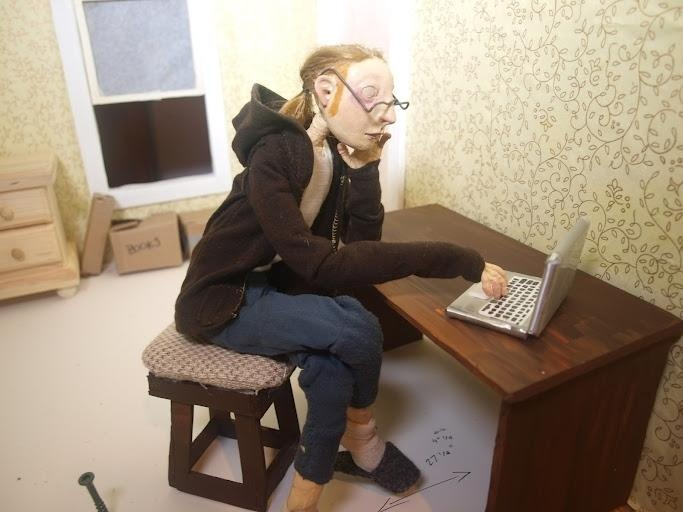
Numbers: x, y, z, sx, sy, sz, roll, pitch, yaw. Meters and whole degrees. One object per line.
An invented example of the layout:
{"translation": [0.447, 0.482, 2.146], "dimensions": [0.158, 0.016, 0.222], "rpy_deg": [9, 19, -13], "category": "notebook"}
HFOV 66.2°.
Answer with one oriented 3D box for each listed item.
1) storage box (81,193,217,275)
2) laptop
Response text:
{"translation": [-1.160, -0.068, 3.060], "dimensions": [0.531, 0.224, 0.524], "rpy_deg": [-6, 27, -14], "category": "storage box"}
{"translation": [0.541, 0.028, 1.591], "dimensions": [0.311, 0.270, 0.397], "rpy_deg": [18, 29, 37], "category": "laptop"}
